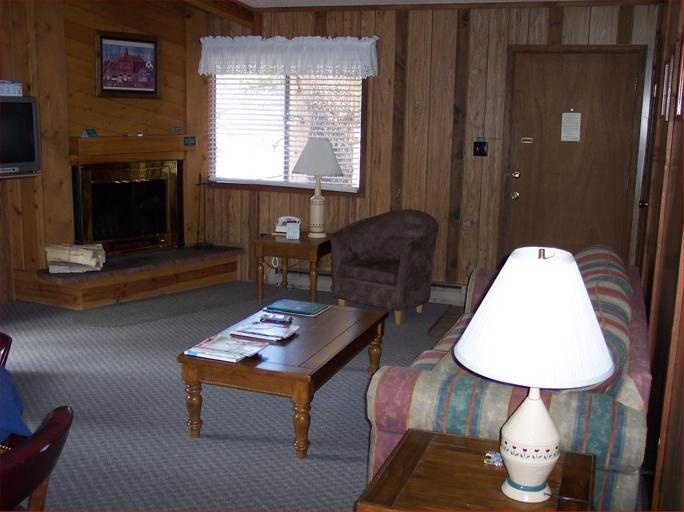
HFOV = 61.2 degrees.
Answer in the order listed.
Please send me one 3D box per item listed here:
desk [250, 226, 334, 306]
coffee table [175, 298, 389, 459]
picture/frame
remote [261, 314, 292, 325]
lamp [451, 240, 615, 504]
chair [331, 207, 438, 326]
[{"bbox_3d":[-0.509,0.071,6.085,0.731,0.734,0.748,3,7,14],"label":"desk"},{"bbox_3d":[-0.421,0.455,3.496,0.771,0.469,1.202,6,10,22],"label":"coffee table"},{"bbox_3d":[-2.269,-2.024,6.060,0.063,0.793,0.821,5,7,44],"label":"picture/frame"},{"bbox_3d":[-0.451,0.430,3.949,0.122,0.035,0.092,5,7,6],"label":"remote"},{"bbox_3d":[0.592,0.394,1.827,0.485,0.833,0.259,4,14,12],"label":"lamp"},{"bbox_3d":[0.448,0.060,5.755,0.919,0.995,0.889,7,10,31],"label":"chair"}]
